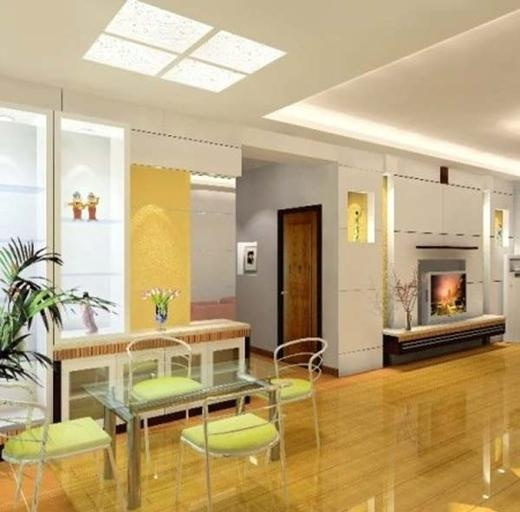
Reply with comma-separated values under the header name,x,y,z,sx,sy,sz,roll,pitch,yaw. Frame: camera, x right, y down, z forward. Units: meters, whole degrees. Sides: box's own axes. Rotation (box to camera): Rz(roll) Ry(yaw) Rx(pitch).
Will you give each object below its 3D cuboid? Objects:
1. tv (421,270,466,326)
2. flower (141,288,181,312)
name,x,y,z,sx,sy,sz,roll,pitch,yaw
tv,2.795,0.641,6.593,0.830,1.172,0.153,0,-1,-36
flower,-0.919,0.392,4.040,0.380,0.193,0.241,0,0,-26
